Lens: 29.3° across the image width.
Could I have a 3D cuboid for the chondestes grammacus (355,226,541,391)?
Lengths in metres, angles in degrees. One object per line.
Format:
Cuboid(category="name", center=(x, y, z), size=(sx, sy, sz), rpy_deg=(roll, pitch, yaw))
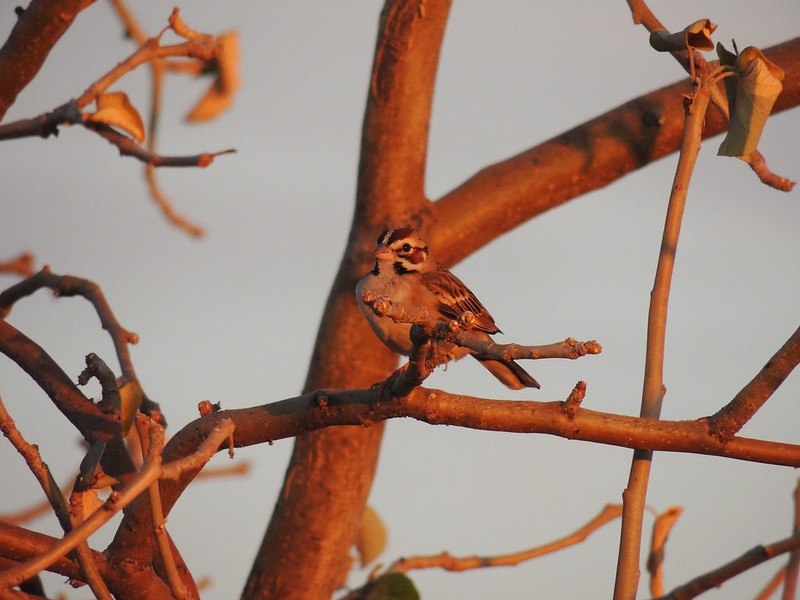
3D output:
Cuboid(category="chondestes grammacus", center=(0.270, 0.042, 7.944), size=(0.984, 0.549, 0.837), rpy_deg=(0, -90, -38))
